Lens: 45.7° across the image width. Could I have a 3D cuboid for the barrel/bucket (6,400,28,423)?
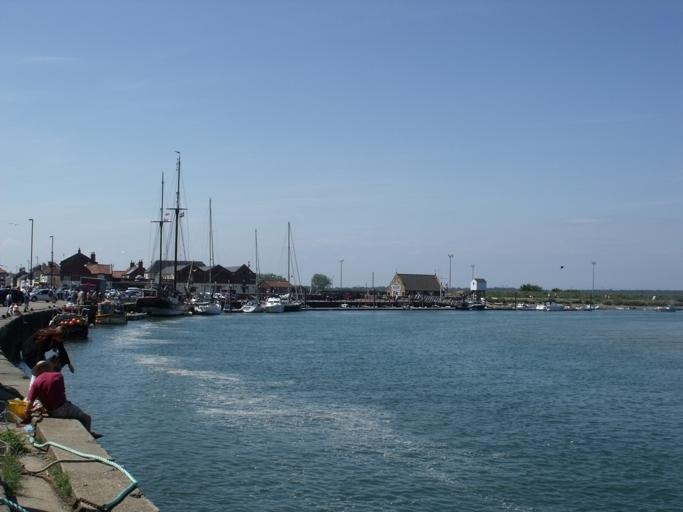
[{"bbox_3d":[-10.739,5.067,26.721,0.706,0.672,0.698,1,-9,0],"label":"barrel/bucket"}]
